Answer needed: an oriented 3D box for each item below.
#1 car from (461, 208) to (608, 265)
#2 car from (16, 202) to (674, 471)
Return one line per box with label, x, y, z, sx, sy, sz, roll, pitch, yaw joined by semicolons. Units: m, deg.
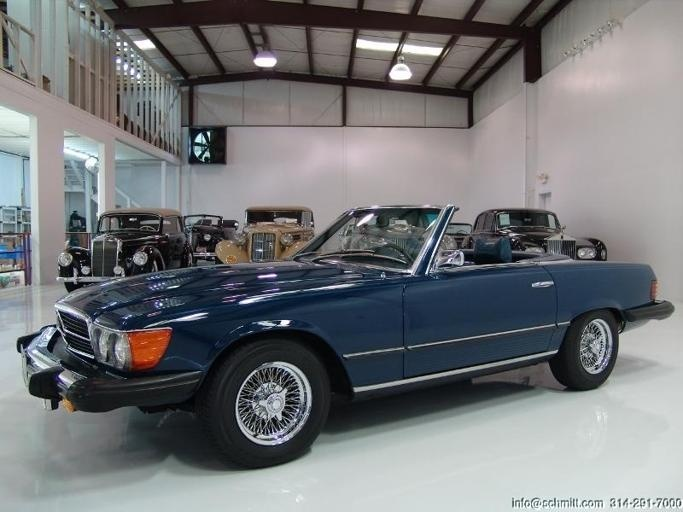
car;3.506;-0.431;8.691;1.724;1.146;2.592;0;0;-25
car;0.048;0.385;3.013;3.901;1.443;0.861;-3;8;-22
